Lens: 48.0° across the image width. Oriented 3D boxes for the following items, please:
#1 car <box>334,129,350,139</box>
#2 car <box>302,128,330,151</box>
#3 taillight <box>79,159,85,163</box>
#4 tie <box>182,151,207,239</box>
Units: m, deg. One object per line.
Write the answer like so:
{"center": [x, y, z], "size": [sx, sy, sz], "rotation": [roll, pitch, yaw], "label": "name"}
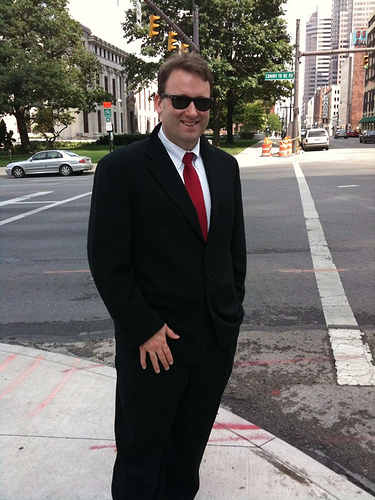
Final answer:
{"center": [30.197, -22.631, 82.636], "size": [2.087, 1.487, 3.331], "rotation": [2, 19, 9], "label": "car"}
{"center": [11.863, -10.323, 39.510], "size": [1.538, 1.165, 2.696], "rotation": [1, 22, 11], "label": "car"}
{"center": [-6.434, -5.399, 25.718], "size": [0.133, 0.209, 0.336], "rotation": [11, 19, 41], "label": "taillight"}
{"center": [0.026, -0.201, 1.427], "size": [0.053, 0.347, 0.041], "rotation": [-4, 4, -3], "label": "tie"}
